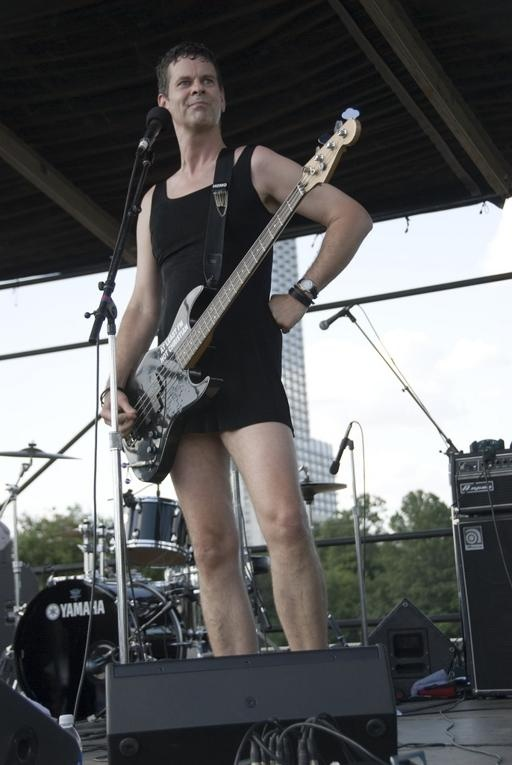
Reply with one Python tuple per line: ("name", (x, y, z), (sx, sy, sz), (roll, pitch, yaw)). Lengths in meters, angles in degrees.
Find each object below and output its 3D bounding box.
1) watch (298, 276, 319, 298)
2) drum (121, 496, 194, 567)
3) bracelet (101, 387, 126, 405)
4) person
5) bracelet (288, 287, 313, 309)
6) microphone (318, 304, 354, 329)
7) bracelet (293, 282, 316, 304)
("watch", (0.140, -0.267, 3.436), (0.042, 0.057, 0.029), (-35, -12, -50))
("drum", (-0.528, 0.730, 5.808), (0.361, 0.241, 0.347), (-4, -33, -2))
("bracelet", (-0.445, 0.039, 3.826), (0.015, 0.057, 0.065), (6, -5, -39))
("person", (-0.063, -0.138, 3.640), (0.846, 1.819, 0.327), (-18, -17, 41))
("bracelet", (0.119, -0.242, 3.439), (0.040, 0.060, 0.059), (-51, 5, -3))
("microphone", (0.365, -0.277, 5.643), (0.137, 0.059, 0.132), (-30, 28, 6))
("bracelet", (0.128, -0.246, 3.436), (0.043, 0.059, 0.054), (-45, 3, -13))
